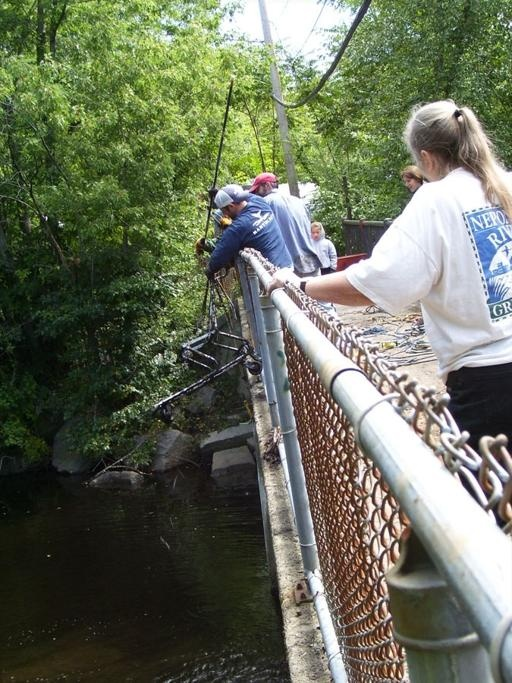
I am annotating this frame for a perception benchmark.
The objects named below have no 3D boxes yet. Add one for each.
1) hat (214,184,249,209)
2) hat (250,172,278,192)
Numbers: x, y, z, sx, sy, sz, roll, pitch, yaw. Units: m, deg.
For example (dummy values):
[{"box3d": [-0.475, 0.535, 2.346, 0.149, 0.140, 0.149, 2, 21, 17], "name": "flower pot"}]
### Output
[{"box3d": [-0.223, -1.232, 5.026, 0.278, 0.155, 0.193, -25, 29, 23], "name": "hat"}, {"box3d": [0.037, -1.602, 5.902, 0.326, 0.156, 0.201, -3, 17, 13], "name": "hat"}]
